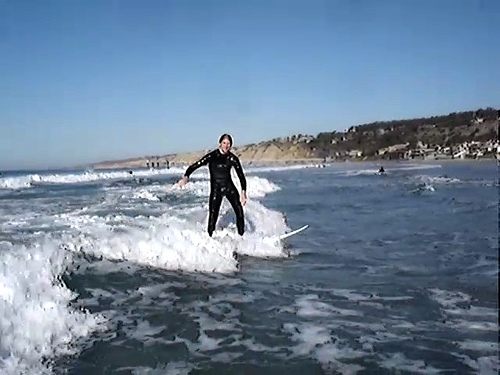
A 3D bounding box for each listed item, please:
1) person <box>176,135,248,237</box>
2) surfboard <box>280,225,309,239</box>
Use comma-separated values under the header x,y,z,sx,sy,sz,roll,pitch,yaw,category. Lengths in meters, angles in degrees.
x,y,z,sx,sy,sz,roll,pitch,yaw,category
-0.806,0.015,10.133,1.393,2.635,0.639,-1,13,-7,person
1.352,1.387,12.420,1.041,0.176,0.150,-19,18,4,surfboard
